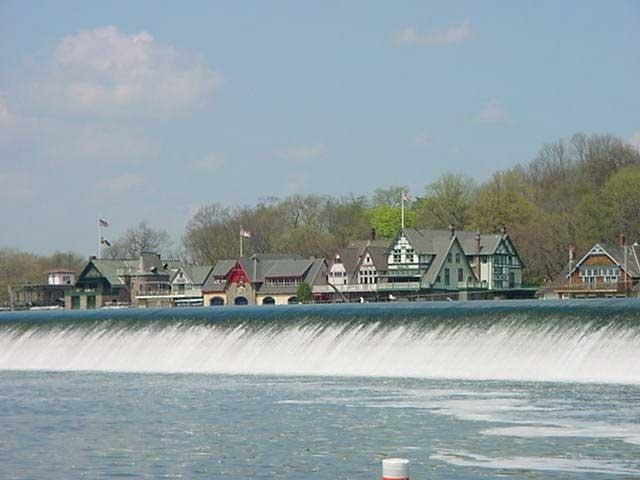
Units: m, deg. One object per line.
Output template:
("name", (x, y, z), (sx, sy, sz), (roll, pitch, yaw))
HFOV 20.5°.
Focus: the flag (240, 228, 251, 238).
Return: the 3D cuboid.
("flag", (-8.005, -0.613, 189.095), (1.160, 0.830, 0.168), (1, -7, -27))
